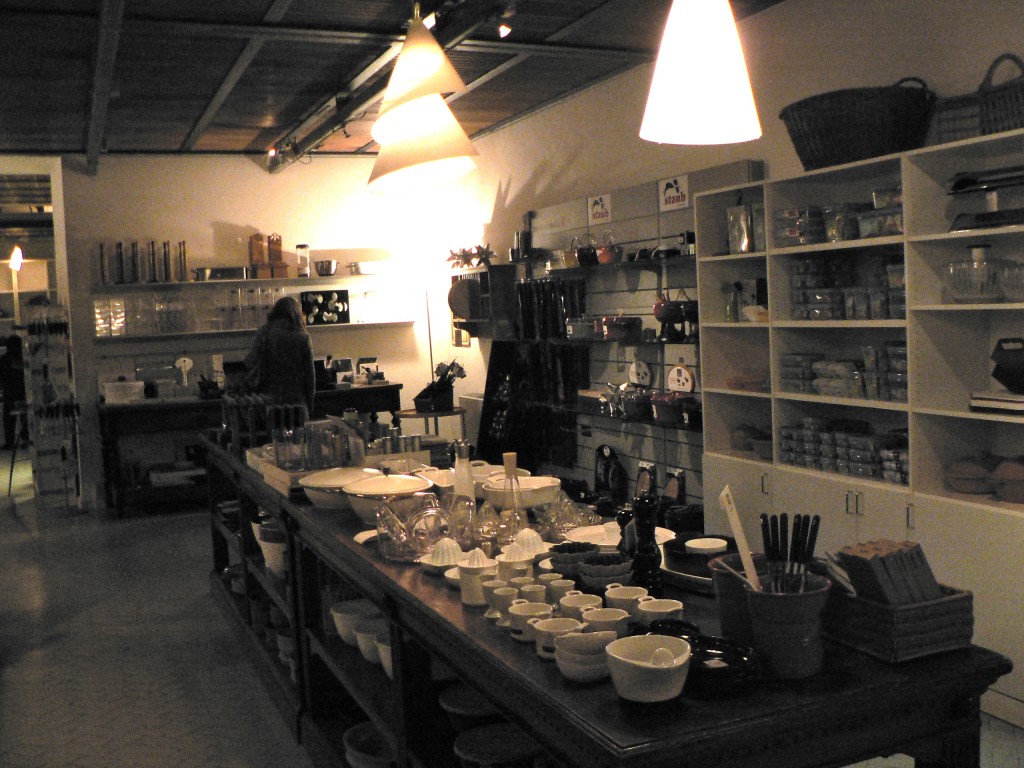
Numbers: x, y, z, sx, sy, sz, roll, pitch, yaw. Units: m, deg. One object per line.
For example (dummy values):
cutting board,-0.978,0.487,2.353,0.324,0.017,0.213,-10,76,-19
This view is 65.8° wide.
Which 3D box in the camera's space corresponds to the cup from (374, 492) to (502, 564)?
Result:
cup,-0.271,0.447,2.510,0.205,0.143,0.333,0,4,-43

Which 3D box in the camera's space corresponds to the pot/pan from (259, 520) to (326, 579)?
pot/pan,-1.069,0.779,3.867,0.300,0.292,0.297,10,-14,-26

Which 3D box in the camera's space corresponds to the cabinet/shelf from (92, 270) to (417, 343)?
cabinet/shelf,-3.120,-0.822,8.589,2.769,0.320,0.565,-5,-17,-30

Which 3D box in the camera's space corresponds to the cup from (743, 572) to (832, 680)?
cup,0.583,0.514,1.759,0.196,0.184,0.192,-1,4,0

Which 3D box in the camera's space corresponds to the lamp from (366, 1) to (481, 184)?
lamp,-0.336,-1.037,2.766,0.372,0.687,0.409,-3,4,-9

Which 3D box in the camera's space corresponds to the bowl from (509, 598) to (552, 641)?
bowl,0.039,0.556,1.902,0.069,0.051,0.087,0,1,0

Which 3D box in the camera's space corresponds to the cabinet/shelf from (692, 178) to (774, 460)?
cabinet/shelf,1.317,-0.359,4.745,0.425,1.563,0.548,-1,5,16

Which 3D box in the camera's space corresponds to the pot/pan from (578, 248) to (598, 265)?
pot/pan,0.568,-0.961,6.124,0.137,0.127,0.135,2,0,-18

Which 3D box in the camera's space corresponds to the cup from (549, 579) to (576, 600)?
cup,0.119,0.518,2.021,0.050,0.045,0.062,-1,-1,-42

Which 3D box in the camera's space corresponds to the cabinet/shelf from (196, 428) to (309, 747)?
cabinet/shelf,-1.314,1.040,3.997,0.260,0.642,1.291,-2,12,-27

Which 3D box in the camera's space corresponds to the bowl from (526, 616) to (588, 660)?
bowl,0.098,0.568,1.802,0.082,0.055,0.098,0,-5,-18

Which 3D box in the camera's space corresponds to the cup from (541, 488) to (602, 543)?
cup,0.185,0.428,2.551,0.146,0.087,0.141,0,-3,0

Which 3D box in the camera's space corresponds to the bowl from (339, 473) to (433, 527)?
bowl,-0.473,0.401,2.868,0.221,0.127,0.213,0,2,0

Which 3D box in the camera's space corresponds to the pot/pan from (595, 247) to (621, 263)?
pot/pan,0.710,-0.949,5.918,0.195,0.141,0.213,-1,5,13

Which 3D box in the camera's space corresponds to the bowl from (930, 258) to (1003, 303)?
bowl,2.059,-0.455,3.582,0.187,0.198,0.337,-3,5,-14

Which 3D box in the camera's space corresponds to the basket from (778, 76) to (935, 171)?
basket,1.812,-1.278,4.078,0.735,0.289,0.616,4,7,44

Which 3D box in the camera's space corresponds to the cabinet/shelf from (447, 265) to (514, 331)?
cabinet/shelf,-0.298,-0.821,7.654,0.277,0.480,0.761,1,0,-21

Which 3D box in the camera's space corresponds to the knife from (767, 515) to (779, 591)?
knife,0.583,0.377,1.780,0.028,0.159,0.012,0,-14,-3

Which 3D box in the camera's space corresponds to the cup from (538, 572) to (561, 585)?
cup,0.088,0.508,2.101,0.037,0.025,0.034,0,-2,0

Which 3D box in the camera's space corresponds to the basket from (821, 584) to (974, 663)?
basket,0.848,0.472,1.764,0.229,0.096,0.171,-3,3,-32

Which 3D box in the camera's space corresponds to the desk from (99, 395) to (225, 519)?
desk,-3.659,0.767,8.111,0.899,1.131,1.307,1,1,43

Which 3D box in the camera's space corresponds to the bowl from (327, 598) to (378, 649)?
bowl,-0.626,0.914,3.082,0.159,0.091,0.154,2,8,0

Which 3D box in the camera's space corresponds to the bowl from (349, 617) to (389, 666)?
bowl,-0.526,0.912,2.888,0.139,0.093,0.136,4,19,-1

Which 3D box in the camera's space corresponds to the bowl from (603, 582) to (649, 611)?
bowl,0.280,0.520,1.966,0.073,0.050,0.056,0,2,26

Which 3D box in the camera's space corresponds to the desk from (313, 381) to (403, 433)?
desk,-1.509,0.157,8.074,0.748,0.370,0.530,0,-3,-29

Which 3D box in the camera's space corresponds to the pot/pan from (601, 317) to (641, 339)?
pot/pan,0.803,-0.404,5.882,0.295,0.152,0.193,1,3,2

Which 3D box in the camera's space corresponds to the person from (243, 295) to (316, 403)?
person,-2.010,-0.236,6.838,0.519,1.155,0.345,-3,40,-26

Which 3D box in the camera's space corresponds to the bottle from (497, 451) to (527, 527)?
bottle,-0.034,0.367,2.729,0.092,0.257,0.088,7,10,-1

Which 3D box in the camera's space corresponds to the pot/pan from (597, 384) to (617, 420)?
pot/pan,0.708,0.125,5.902,0.085,0.220,0.161,-5,-2,-4

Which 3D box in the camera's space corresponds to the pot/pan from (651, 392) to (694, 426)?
pot/pan,1.080,0.172,5.297,0.100,0.213,0.364,-5,6,-35

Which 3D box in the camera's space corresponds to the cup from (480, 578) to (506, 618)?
cup,-0.047,0.544,2.060,0.065,0.068,0.066,1,-4,0

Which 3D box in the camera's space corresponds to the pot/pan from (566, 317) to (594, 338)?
pot/pan,0.531,-0.426,6.113,0.144,0.142,0.211,-5,6,-42

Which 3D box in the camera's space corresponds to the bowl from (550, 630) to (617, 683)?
bowl,0.146,0.567,1.665,0.128,0.080,0.097,3,-7,-21

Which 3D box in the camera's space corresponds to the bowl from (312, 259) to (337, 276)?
bowl,-2.065,-1.246,8.699,0.196,0.120,0.191,-1,-5,0

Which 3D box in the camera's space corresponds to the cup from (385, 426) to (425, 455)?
cup,-0.514,0.257,3.633,0.117,0.081,0.115,0,3,0

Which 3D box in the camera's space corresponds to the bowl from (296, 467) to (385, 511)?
bowl,-0.704,0.387,3.155,0.215,0.099,0.209,2,3,0

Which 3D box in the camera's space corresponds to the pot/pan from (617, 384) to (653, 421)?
pot/pan,0.869,0.142,5.579,0.232,0.213,0.225,-1,1,-21

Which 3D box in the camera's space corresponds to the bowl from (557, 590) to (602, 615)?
bowl,0.157,0.523,1.911,0.080,0.027,0.048,0,-1,-8

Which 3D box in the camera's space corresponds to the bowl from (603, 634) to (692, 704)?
bowl,0.271,0.565,1.590,0.166,0.104,0.153,-2,4,0

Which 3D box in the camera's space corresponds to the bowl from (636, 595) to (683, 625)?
bowl,0.356,0.531,1.900,0.061,0.053,0.078,0,-1,-16

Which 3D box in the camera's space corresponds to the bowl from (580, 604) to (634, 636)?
bowl,0.217,0.519,1.779,0.086,0.055,0.058,-4,-2,44

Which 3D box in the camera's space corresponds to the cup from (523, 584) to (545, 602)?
cup,0.049,0.519,1.981,0.039,0.034,0.049,0,-4,-18

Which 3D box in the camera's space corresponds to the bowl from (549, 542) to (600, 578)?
bowl,0.165,0.482,2.214,0.093,0.039,0.090,0,4,0
